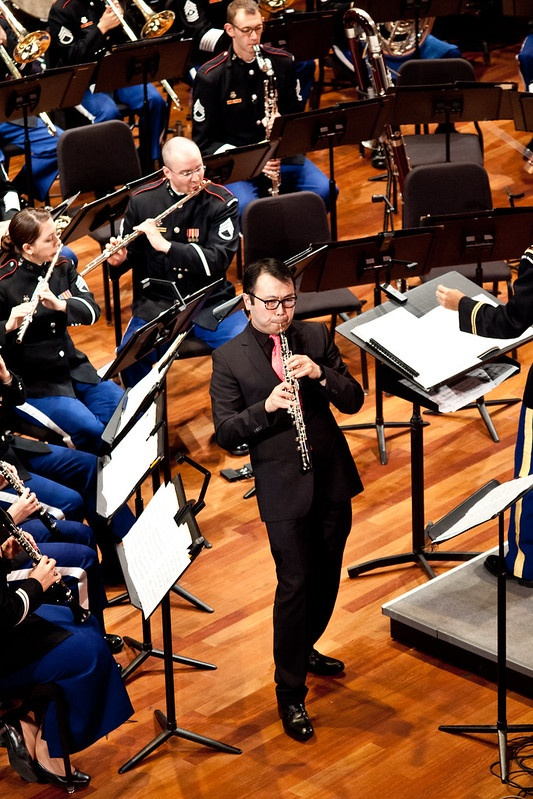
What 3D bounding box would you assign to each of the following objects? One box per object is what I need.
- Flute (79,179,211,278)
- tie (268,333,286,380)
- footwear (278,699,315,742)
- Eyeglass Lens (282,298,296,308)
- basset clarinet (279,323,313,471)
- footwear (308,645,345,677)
[{"bbox_3d":[-0.639,-0.947,3.758,1.073,0.164,0.088,-38,40,5],"label":"Flute"},{"bbox_3d":[0.033,-0.118,1.974,0.025,0.167,0.026,-2,-5,-9],"label":"tie"},{"bbox_3d":[0.078,0.917,1.974,0.058,0.057,0.147,-8,30,-18],"label":"footwear"},{"bbox_3d":[0.058,-0.276,1.927,0.033,0.012,0.033,-12,-16,43],"label":"Eyeglass Lens"},{"bbox_3d":[0.072,-0.011,1.873,0.060,0.395,0.067,-3,-9,-23],"label":"basset clarinet"},{"bbox_3d":[0.186,0.856,2.279,0.149,0.062,0.055,8,29,21],"label":"footwear"}]
